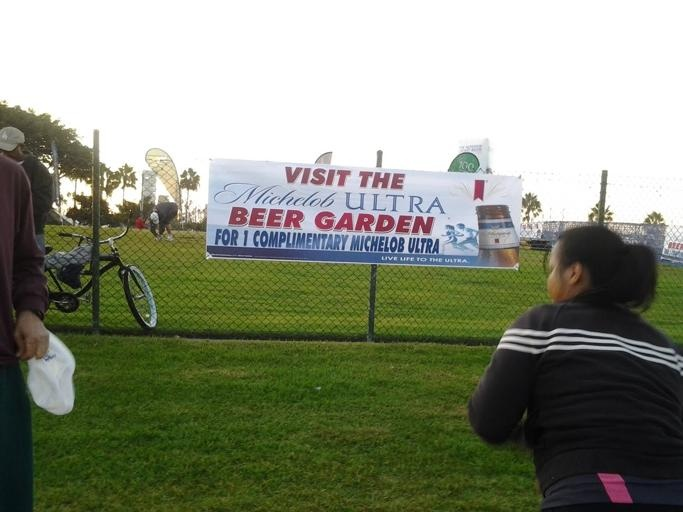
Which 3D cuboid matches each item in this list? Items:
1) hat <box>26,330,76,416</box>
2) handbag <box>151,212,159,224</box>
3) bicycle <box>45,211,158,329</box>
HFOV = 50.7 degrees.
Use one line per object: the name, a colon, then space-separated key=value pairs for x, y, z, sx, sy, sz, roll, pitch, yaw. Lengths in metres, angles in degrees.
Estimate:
hat: x=-1.536 y=0.630 z=3.827 sx=0.113 sy=0.436 sz=0.276 roll=-9 pitch=10 yaw=39
handbag: x=-2.983 y=-0.605 z=11.485 sx=0.155 sy=0.183 sz=0.204 roll=-3 pitch=3 yaw=-1
bicycle: x=-2.813 y=0.224 z=8.370 sx=1.240 sy=1.162 sz=1.264 roll=-1 pitch=14 yaw=-15
